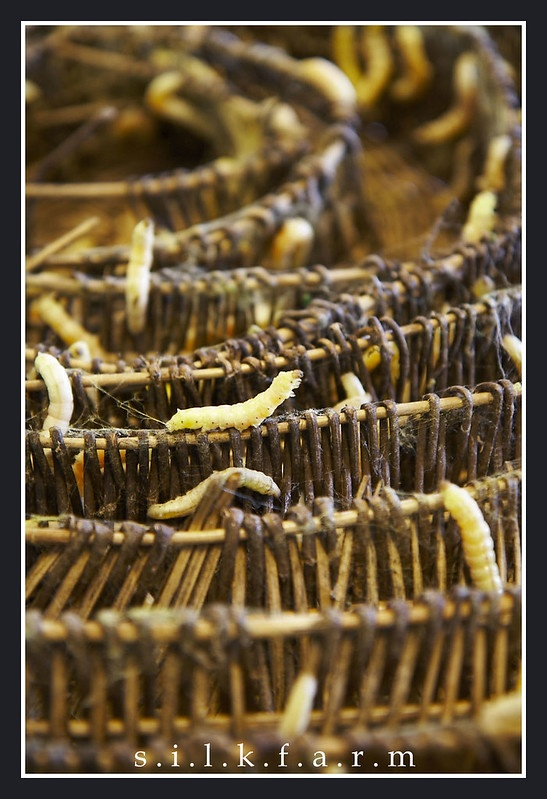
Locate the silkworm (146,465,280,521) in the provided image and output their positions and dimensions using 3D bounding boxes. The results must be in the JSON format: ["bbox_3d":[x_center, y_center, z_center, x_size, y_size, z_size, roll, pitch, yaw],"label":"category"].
[{"bbox_3d":[-0.047,0.074,0.871,0.102,0.026,0.016,-14,8,4],"label":"silkworm"}]

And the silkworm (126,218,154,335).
[{"bbox_3d":[-0.132,-0.111,1.053,0.024,0.122,0.032,5,25,-2],"label":"silkworm"}]

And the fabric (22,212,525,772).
[{"bbox_3d":[0.011,0.041,0.923,0.432,0.508,0.183,6,-27,-11],"label":"fabric"}]

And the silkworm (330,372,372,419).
[{"bbox_3d":[0.068,-0.005,0.934,0.028,0.036,0.014,-17,-30,36],"label":"silkworm"}]

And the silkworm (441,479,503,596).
[{"bbox_3d":[0.154,0.106,0.853,0.029,0.121,0.025,-16,9,6],"label":"silkworm"}]
